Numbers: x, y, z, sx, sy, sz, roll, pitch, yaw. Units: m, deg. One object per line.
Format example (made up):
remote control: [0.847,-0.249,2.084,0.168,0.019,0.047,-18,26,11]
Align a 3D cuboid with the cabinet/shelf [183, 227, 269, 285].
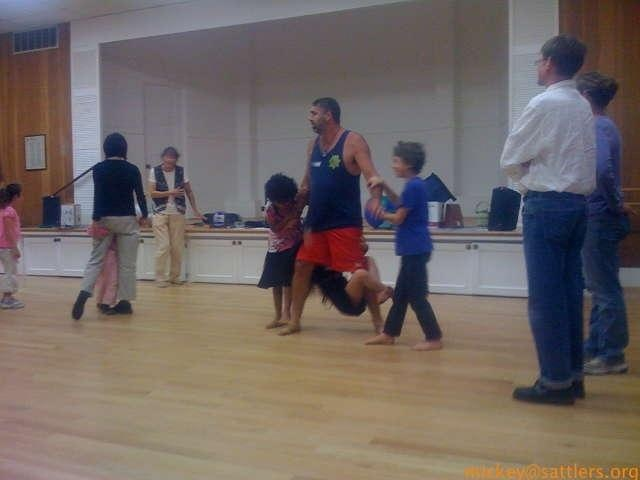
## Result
cabinet/shelf: [-1.058,0.200,6.552,0.999,0.641,0.592,1,-2,19]

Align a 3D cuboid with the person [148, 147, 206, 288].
person: [-1.684,-0.293,6.553,0.497,1.663,0.454,3,8,-24]

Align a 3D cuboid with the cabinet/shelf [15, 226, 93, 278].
cabinet/shelf: [-3.282,0.126,7.506,0.920,0.579,0.500,1,11,-8]

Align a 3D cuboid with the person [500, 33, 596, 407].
person: [1.185,-0.104,3.135,0.553,1.908,0.526,-1,0,-25]

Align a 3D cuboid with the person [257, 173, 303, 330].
person: [-0.312,0.078,4.349,0.395,1.121,0.365,2,7,-3]

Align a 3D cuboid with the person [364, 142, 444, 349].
person: [0.572,0.043,3.836,0.471,1.371,0.369,-1,8,-3]

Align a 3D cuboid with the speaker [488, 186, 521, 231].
speaker: [1.765,-0.280,5.664,0.293,0.414,0.409,7,0,7]

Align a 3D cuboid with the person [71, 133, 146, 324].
person: [-1.705,-0.095,4.903,0.482,1.487,0.698,1,1,38]

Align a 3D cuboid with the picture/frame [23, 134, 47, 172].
picture/frame: [-3.970,-1.232,8.145,0.338,0.489,0.039,-3,-2,9]

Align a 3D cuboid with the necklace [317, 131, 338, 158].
necklace: [0.055,-0.658,3.910,0.104,0.146,0.036,10,9,29]

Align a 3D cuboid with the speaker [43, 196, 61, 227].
speaker: [-3.536,-0.395,7.643,0.247,0.451,0.247,0,2,-26]
